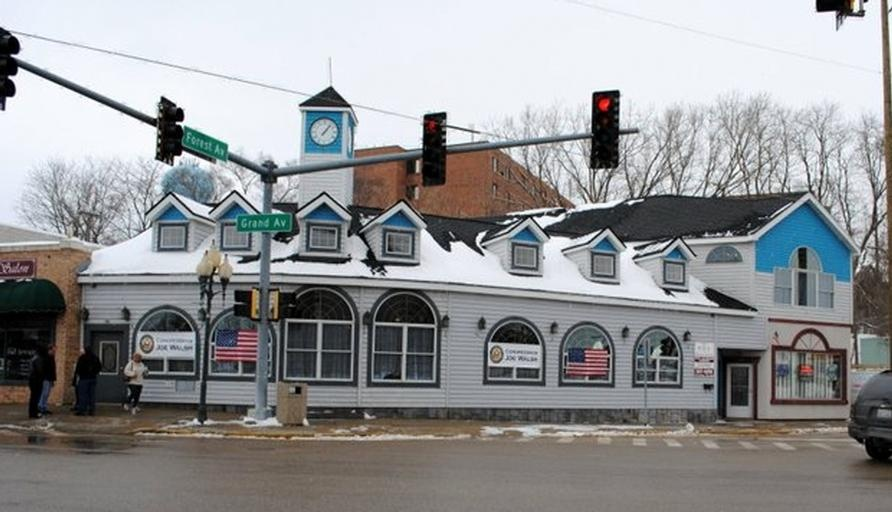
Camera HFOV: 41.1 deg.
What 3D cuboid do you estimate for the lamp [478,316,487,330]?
[{"bbox_3d":[1.681,3.113,54.579,0.557,0.523,0.211,-3,-3,-39],"label":"lamp"}]

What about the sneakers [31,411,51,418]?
[{"bbox_3d":[-16.568,6.550,48.803,0.601,0.249,0.193,-9,-6,-4],"label":"sneakers"}]

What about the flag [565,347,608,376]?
[{"bbox_3d":[6.626,5.074,56.281,2.318,1.236,0.293,-3,-2,-22],"label":"flag"}]

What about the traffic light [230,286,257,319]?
[{"bbox_3d":[-8.191,1.967,48.236,1.138,1.459,1.043,1,-2,1],"label":"traffic light"}]

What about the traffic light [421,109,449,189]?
[{"bbox_3d":[-0.450,-4.024,44.756,1.006,2.186,0.760,-4,-2,-2],"label":"traffic light"}]

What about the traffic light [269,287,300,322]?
[{"bbox_3d":[-6.597,1.990,48.174,1.347,1.185,1.609,-1,3,2],"label":"traffic light"}]

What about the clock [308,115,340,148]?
[{"bbox_3d":[-5.915,-6.021,58.193,1.610,1.588,0.170,0,-3,4],"label":"clock"}]

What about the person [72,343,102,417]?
[{"bbox_3d":[-15.119,5.262,49.891,1.105,1.898,0.994,-5,-2,5],"label":"person"}]

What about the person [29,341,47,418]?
[{"bbox_3d":[-16.727,5.208,48.753,0.552,1.861,1.068,-4,-2,-1],"label":"person"}]

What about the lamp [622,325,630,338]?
[{"bbox_3d":[8.616,3.655,57.092,0.511,0.476,0.184,-3,-2,-30],"label":"lamp"}]
